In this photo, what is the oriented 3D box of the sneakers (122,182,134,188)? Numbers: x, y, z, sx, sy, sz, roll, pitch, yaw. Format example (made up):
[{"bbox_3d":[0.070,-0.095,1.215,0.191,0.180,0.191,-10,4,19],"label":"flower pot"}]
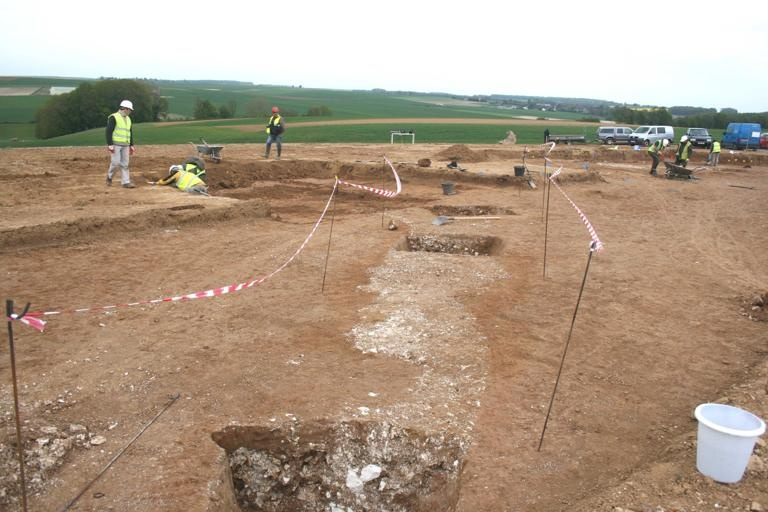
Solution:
[{"bbox_3d":[-8.053,-2.229,17.312,0.374,0.108,0.127,-4,33,-5],"label":"sneakers"}]

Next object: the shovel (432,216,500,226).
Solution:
[{"bbox_3d":[2.419,-1.077,16.390,2.088,0.176,0.592,-2,10,-11],"label":"shovel"}]

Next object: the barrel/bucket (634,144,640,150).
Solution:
[{"bbox_3d":[15.597,-6.644,33.915,0.385,0.242,2.434,8,14,22],"label":"barrel/bucket"}]

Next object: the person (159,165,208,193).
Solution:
[{"bbox_3d":[-6.701,-2.508,18.077,1.662,0.471,1.017,20,49,19],"label":"person"}]

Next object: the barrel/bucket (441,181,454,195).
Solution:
[{"bbox_3d":[2.359,-2.500,20.386,0.684,0.323,0.538,0,6,4],"label":"barrel/bucket"}]
